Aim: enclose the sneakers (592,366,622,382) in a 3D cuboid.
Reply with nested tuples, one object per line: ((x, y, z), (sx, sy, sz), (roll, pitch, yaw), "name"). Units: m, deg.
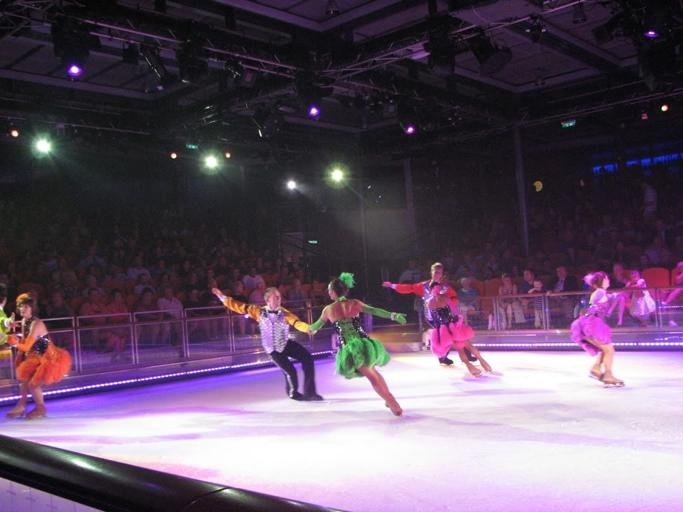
((3.885, 1.789, 9.108), (0.289, 0.201, 0.673), (-5, -1, -5), "sneakers")

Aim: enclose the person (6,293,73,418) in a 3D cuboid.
((-4.569, 1.442, 9.162), (0.862, 1.831, 1.155), (-5, 0, -29), "person")

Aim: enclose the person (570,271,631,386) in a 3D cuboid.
((3.766, 1.071, 9.040), (0.382, 1.646, 0.626), (-5, 0, -33), "person")

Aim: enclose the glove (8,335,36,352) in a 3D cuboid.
((-4.710, 1.294, 9.055), (0.298, 0.133, 0.389), (4, -17, 0), "glove")

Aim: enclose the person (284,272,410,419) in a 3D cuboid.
((0.240, 1.169, 8.307), (1.053, 1.898, 0.680), (-5, 0, 13), "person")

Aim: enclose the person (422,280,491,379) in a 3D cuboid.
((2.120, 1.391, 11.248), (0.547, 1.340, 1.290), (-35, 8, -39), "person")
